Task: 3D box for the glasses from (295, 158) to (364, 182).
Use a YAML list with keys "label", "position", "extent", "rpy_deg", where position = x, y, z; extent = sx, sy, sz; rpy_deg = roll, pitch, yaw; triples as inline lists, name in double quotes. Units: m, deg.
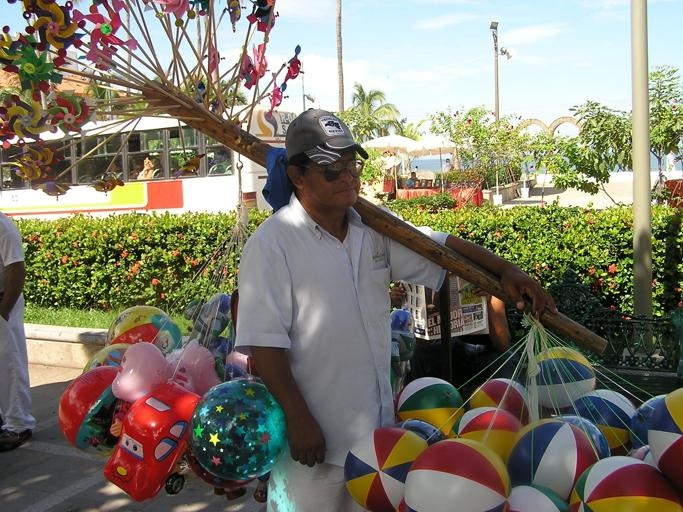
- label: "glasses"
  position: [-0.045, -0.381, 2.300]
  extent: [0.281, 0.085, 0.128]
  rpy_deg: [-4, 13, 3]
